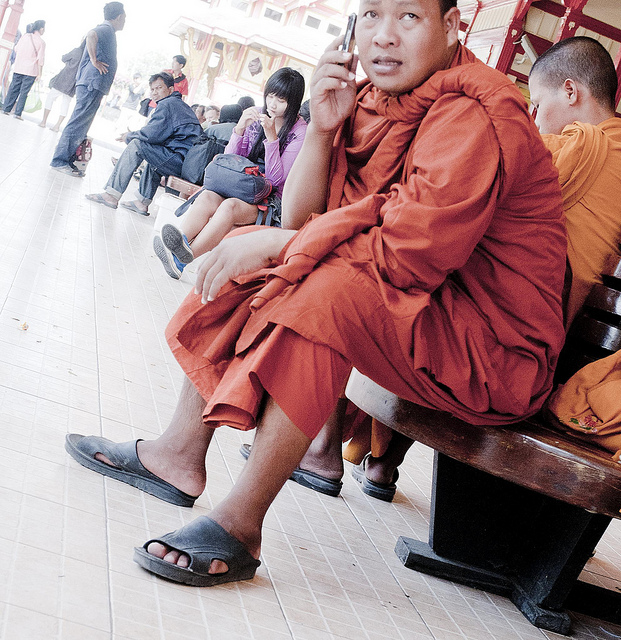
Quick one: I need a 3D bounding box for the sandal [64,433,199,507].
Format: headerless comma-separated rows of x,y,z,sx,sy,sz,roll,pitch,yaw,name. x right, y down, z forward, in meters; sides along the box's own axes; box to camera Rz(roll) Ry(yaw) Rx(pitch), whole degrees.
-0.478,0.389,1.535,0.377,0.096,0.058,20,10,0,sandal

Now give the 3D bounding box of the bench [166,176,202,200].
-1.316,-1.396,5.959,0.362,0.085,0.380,24,13,39,bench

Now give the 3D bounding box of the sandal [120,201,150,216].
-2.048,-1.302,6.693,0.316,0.083,0.113,18,5,-15,sandal

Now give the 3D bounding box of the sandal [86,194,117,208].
-2.250,-1.285,6.210,0.095,0.070,0.245,21,5,43,sandal

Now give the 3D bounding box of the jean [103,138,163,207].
-2.010,-1.698,6.495,0.416,0.702,0.730,22,10,10,jean

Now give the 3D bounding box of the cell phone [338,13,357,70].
0.112,-0.739,1.596,0.026,0.155,0.158,9,-14,12,cell phone

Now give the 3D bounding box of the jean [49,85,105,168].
-3.060,-2.537,7.530,0.334,1.128,0.827,16,11,-24,jean

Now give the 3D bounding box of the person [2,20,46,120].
-6.034,-5.261,12.100,0.567,1.989,0.920,15,11,-30,person

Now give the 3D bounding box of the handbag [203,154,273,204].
-0.535,-1.172,4.655,0.544,0.247,0.730,16,22,9,handbag

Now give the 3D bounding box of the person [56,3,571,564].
0.089,-0.090,1.551,0.968,1.143,0.848,12,13,-38,person

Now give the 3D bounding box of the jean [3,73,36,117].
-6.242,-4.812,12.151,0.569,0.884,0.340,26,11,29,jean

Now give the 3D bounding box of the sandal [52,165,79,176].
-3.117,-1.923,7.312,0.178,0.108,0.304,21,11,9,sandal

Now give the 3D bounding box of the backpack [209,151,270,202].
-0.488,-1.122,4.459,0.645,0.334,0.377,10,16,35,backpack
